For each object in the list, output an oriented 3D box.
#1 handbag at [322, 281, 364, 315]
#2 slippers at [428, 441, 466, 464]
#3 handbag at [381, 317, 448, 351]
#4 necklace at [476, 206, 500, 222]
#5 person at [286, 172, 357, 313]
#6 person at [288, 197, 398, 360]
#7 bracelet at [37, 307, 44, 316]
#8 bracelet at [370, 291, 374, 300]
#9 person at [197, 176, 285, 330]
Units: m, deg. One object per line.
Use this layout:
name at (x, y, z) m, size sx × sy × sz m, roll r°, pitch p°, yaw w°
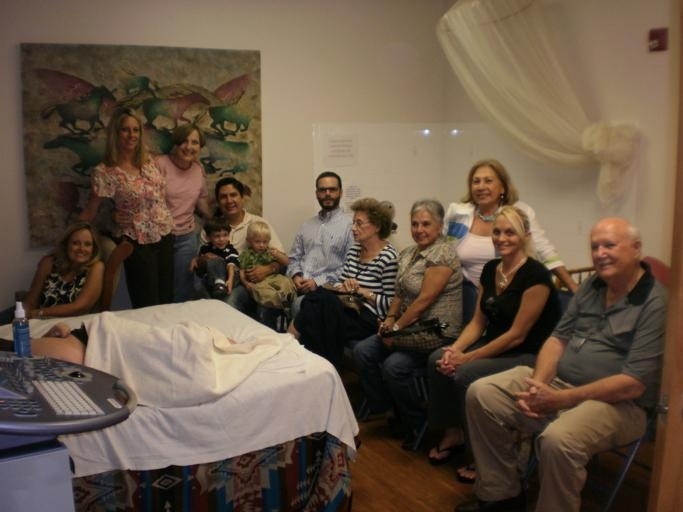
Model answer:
handbag at (0.007, 0.257, 3.704) m, size 0.225 × 0.084 × 0.170 m, roll 29°, pitch 16°, yaw 10°
slippers at (0.606, 1.120, 3.225) m, size 0.240 × 0.076 × 0.127 m, roll -4°, pitch 5°, yaw -28°
handbag at (0.404, 0.490, 3.424) m, size 0.380 × 0.204 × 0.500 m, roll -1°, pitch 9°, yaw 3°
necklace at (0.905, -0.289, 3.547) m, size 0.143 × 0.056 × 0.147 m, roll -12°, pitch 33°, yaw 26°
person at (-0.174, -0.024, 4.322) m, size 0.536 × 1.317 × 0.698 m, roll 4°, pitch 4°, yaw 8°
person at (-0.031, 0.246, 3.797) m, size 0.741 × 1.323 × 0.518 m, roll 2°, pitch 12°, yaw -26°
bracelet at (-1.875, 0.341, 3.475) m, size 0.024 × 0.037 × 0.035 m, roll 2°, pitch 40°, yaw -24°
bracelet at (0.197, 0.262, 3.707) m, size 0.041 × 0.043 × 0.011 m, roll -6°, pitch -23°, yaw 0°
person at (-0.885, -0.016, 4.506) m, size 0.632 × 1.194 × 0.680 m, roll -3°, pitch 9°, yaw 9°
